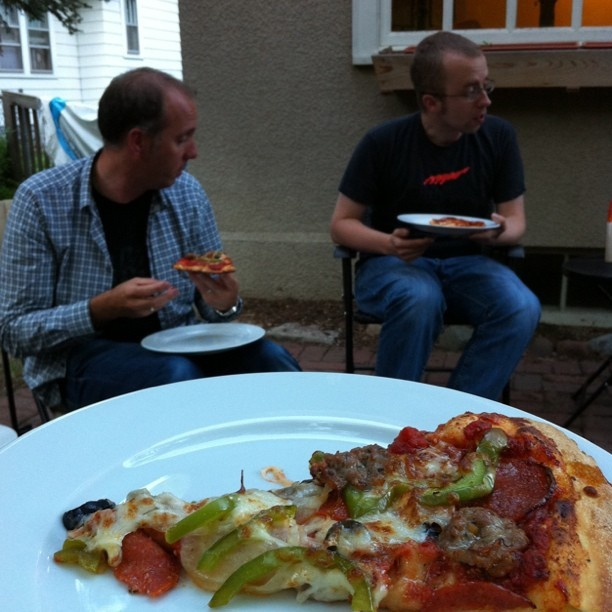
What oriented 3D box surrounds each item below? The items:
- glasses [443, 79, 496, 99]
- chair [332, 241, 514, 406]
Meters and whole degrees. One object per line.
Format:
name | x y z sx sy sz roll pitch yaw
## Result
glasses | 0.937 -1.197 3.416 0.196 0.051 0.194 -23 24 -35
chair | 0.444 0.031 4.036 1.631 1.078 1.068 0 -2 2
